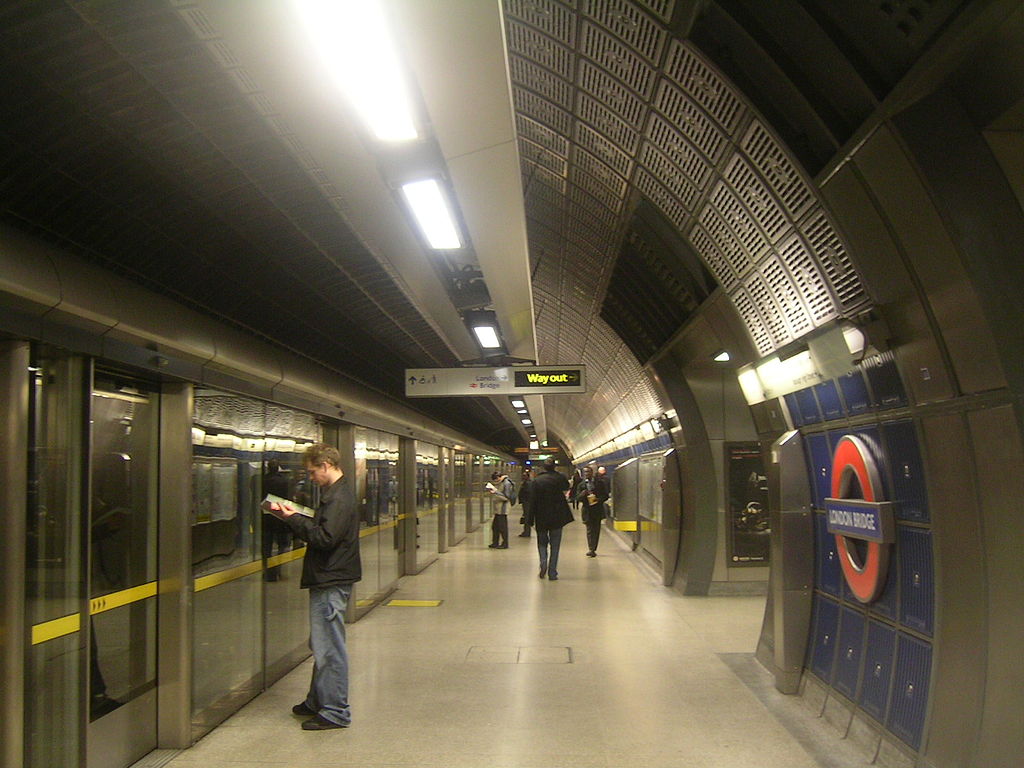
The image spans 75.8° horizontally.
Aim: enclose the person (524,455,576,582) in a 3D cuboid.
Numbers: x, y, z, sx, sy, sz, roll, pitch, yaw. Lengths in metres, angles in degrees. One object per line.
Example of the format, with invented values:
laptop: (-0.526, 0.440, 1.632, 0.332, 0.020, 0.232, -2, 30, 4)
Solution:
person: (0.750, 2.595, 12.810, 0.728, 2.208, 1.153, -1, -6, 2)
